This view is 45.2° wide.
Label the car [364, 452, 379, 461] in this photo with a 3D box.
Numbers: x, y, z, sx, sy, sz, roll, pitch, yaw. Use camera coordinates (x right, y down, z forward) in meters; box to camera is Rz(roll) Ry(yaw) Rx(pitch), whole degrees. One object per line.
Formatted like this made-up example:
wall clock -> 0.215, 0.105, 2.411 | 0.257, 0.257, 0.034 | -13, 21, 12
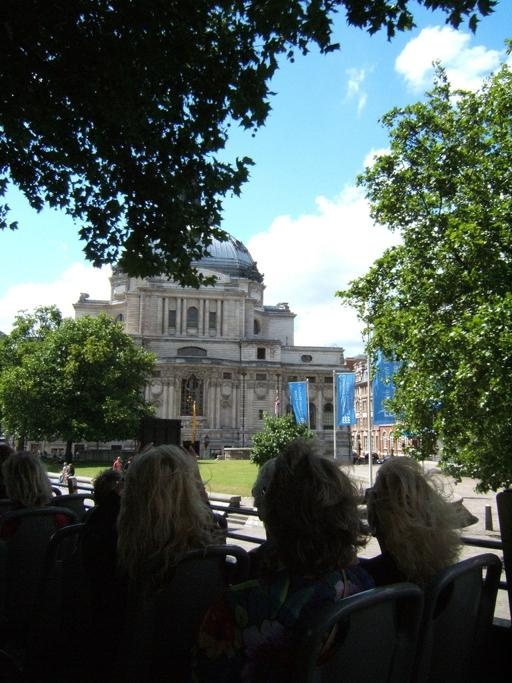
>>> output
car -> 15.442, 15.077, 81.958 | 2.172, 1.422, 3.293 | -2, -14, 7
